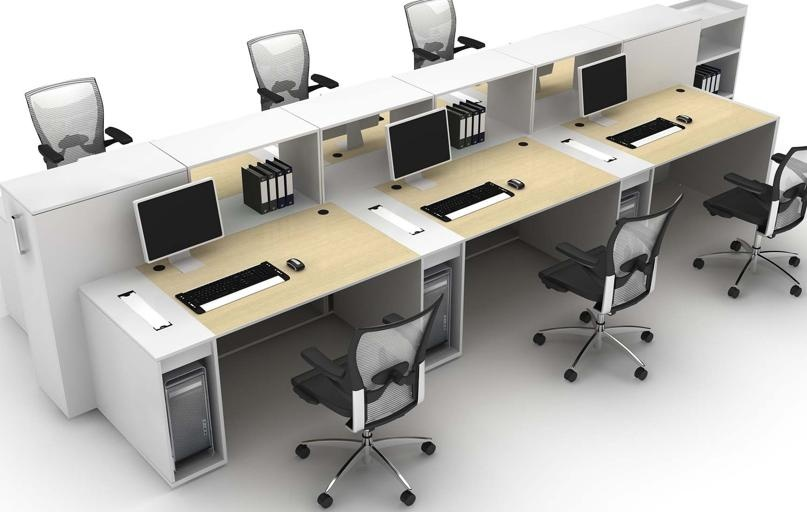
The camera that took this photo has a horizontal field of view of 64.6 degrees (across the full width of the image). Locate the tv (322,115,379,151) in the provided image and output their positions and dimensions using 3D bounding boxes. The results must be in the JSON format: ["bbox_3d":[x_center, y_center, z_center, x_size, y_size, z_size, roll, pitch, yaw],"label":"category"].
[{"bbox_3d":[-0.518,-1.143,5.950,0.594,0.213,0.126,-18,47,-25],"label":"tv"}]

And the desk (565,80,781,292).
[{"bbox_3d":[2.925,-0.802,7.153,1.983,1.281,1.388,-25,43,-29],"label":"desk"}]

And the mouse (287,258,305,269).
[{"bbox_3d":[-0.839,0.047,4.908,0.076,0.036,0.125,-20,36,-33],"label":"mouse"}]

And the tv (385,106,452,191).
[{"bbox_3d":[0.130,-0.938,5.685,0.731,0.605,0.224,-21,32,-30],"label":"tv"}]

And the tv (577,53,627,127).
[{"bbox_3d":[2.001,-1.693,6.490,0.795,0.512,0.103,-22,29,-25],"label":"tv"}]

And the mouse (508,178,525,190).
[{"bbox_3d":[1.004,-0.645,5.699,0.079,0.047,0.139,-23,37,-29],"label":"mouse"}]

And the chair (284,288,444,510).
[{"bbox_3d":[-0.267,1.114,4.731,1.018,1.259,0.922,-24,51,-32],"label":"chair"}]

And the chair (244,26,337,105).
[{"bbox_3d":[-1.278,-2.025,6.974,0.792,0.720,0.516,-25,39,-25],"label":"chair"}]

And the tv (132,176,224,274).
[{"bbox_3d":[-1.745,-0.234,4.861,0.736,0.550,0.117,-19,28,-31],"label":"tv"}]

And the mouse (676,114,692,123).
[{"bbox_3d":[2.896,-1.422,6.636,0.082,0.041,0.154,-24,34,-32],"label":"mouse"}]

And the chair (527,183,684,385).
[{"bbox_3d":[1.709,0.225,5.513,1.145,1.330,1.035,-14,20,-32],"label":"chair"}]
